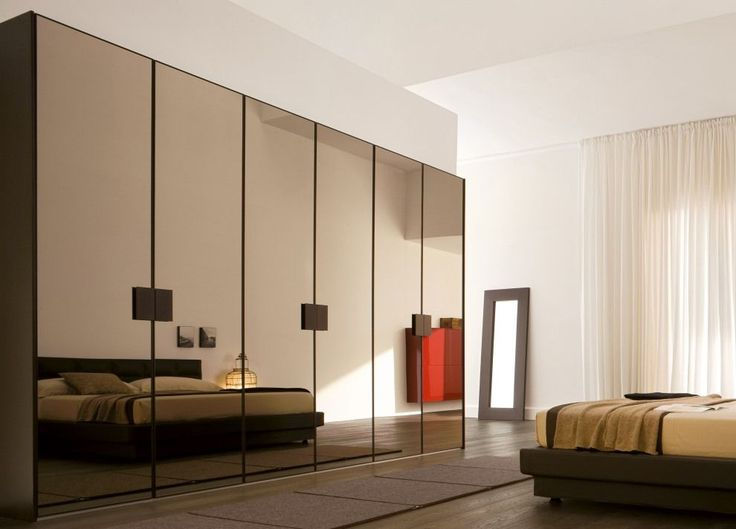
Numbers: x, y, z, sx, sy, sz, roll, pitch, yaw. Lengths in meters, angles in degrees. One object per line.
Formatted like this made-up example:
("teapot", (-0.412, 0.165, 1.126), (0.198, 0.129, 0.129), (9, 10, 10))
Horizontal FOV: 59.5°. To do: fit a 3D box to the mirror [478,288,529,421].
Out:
("mirror", (2.023, 1.316, 9.581), (0.738, 1.938, 0.247), (-2, -5, 34))
